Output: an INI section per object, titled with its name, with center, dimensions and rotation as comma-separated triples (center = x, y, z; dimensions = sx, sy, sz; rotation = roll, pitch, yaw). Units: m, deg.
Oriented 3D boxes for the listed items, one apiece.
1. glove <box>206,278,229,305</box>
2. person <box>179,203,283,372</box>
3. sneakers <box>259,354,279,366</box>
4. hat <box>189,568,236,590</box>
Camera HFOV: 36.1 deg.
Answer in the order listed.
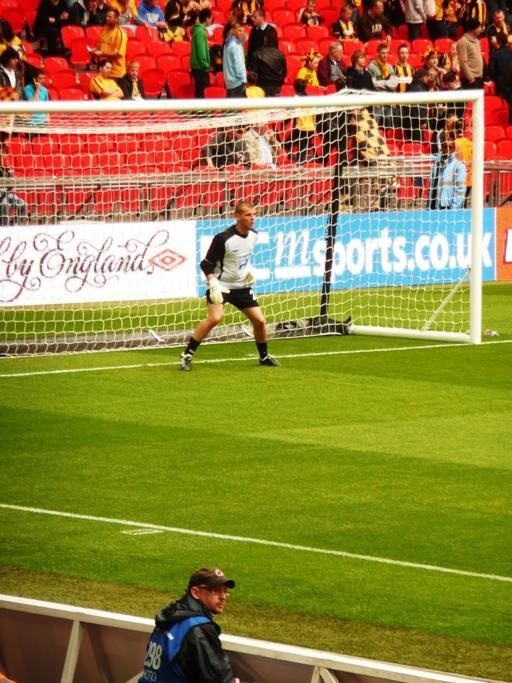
[glove]
center = -0.471, -0.593, 9.332
dimensions = 0.275, 0.292, 0.090
rotation = -4, 0, -6
[person]
center = -0.319, -0.651, 9.431
dimensions = 1.164, 2.007, 0.558
rotation = -2, 10, -5
[sneakers]
center = 0.160, 0.249, 9.752
dimensions = 0.237, 0.105, 0.112
rotation = 0, 0, 11
[hat]
center = -0.120, 0.673, 2.233
dimensions = 0.104, 0.039, 0.069
rotation = -3, -8, 18
